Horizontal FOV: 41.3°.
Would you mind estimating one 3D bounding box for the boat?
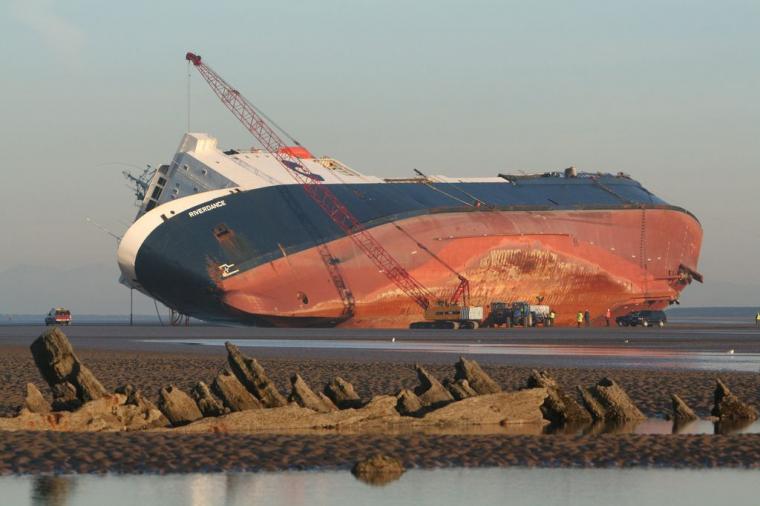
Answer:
[{"bbox_3d":[4.371,-0.349,75.969,48.161,9.225,12.687,-2,-9,-31],"label":"boat"}]
